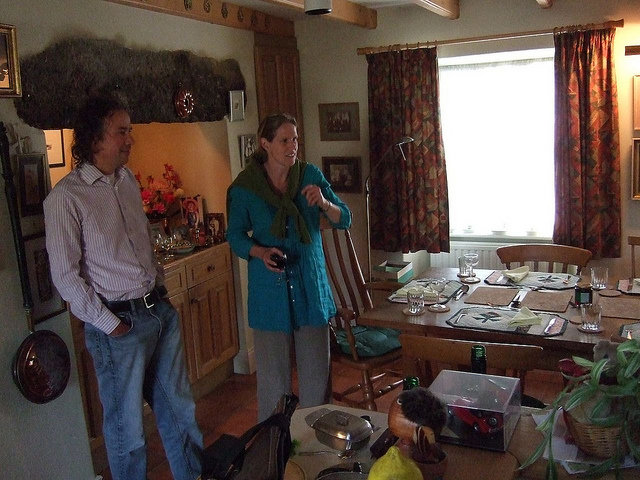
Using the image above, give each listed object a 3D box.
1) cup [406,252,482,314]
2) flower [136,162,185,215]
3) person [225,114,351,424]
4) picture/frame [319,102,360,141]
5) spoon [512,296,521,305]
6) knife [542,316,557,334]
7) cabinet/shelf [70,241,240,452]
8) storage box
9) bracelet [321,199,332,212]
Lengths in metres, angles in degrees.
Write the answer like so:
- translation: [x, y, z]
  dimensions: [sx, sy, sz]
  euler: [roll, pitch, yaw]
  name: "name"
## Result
- translation: [0.694, 0.196, 2.954]
  dimensions: [0.311, 0.157, 0.459]
  euler: [4, 14, 30]
  name: "cup"
- translation: [-1.315, -0.436, 4.216]
  dimensions: [0.395, 0.495, 0.434]
  euler: [-1, 5, 12]
  name: "flower"
- translation: [-0.146, 0.171, 2.590]
  dimensions: [0.644, 1.638, 0.351]
  euler: [-4, 9, -12]
  name: "person"
- translation: [0.201, -1.162, 4.727]
  dimensions: [0.349, 0.326, 0.027]
  euler: [1, 5, 23]
  name: "picture/frame"
- translation: [1.126, 0.347, 2.808]
  dimensions: [0.027, 0.025, 0.039]
  euler: [-4, 13, -10]
  name: "spoon"
- translation: [1.166, 0.435, 2.484]
  dimensions: [0.040, 0.023, 0.220]
  euler: [-4, 14, 27]
  name: "knife"
- translation: [-1.113, 0.647, 3.783]
  dimensions: [0.405, 1.014, 1.057]
  euler: [2, 13, 24]
  name: "cabinet/shelf"
- translation: [0.512, 0.548, 1.587]
  dimensions: [0.240, 0.159, 0.248]
  euler: [2, 8, 22]
  name: "storage box"
- translation: [0.034, -0.179, 2.505]
  dimensions: [0.013, 0.049, 0.048]
  euler: [10, 3, 35]
  name: "bracelet"
